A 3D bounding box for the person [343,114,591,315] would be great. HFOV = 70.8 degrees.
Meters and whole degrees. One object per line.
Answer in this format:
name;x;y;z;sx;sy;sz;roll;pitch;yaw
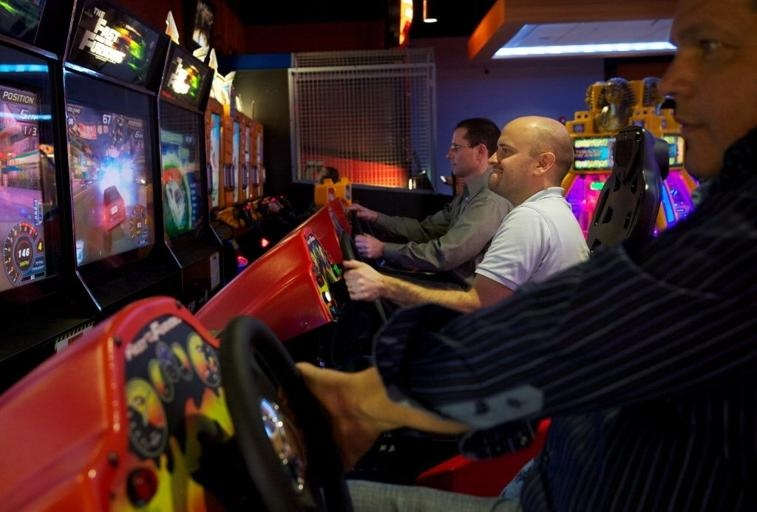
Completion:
person;0.307;-0.175;2.164;0.949;0.810;0.669;0;7;16
